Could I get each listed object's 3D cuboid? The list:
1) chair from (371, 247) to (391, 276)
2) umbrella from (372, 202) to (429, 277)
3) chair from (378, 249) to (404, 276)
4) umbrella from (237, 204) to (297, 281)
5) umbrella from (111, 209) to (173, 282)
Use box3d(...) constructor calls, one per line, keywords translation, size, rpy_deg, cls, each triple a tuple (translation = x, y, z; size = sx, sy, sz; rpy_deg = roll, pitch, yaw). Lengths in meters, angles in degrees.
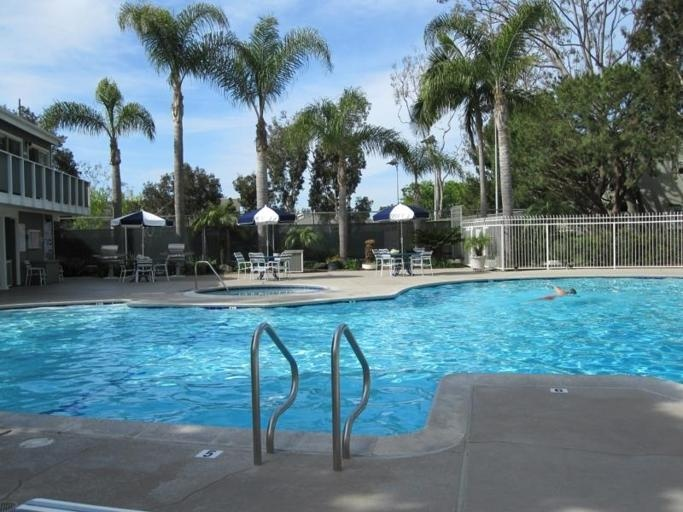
box3d(translation=(1.704, 0.203, 24.132), size=(0.943, 1.449, 0.790), rpy_deg=(-1, 0, 23), cls="chair")
box3d(translation=(2.655, -0.913, 25.436), size=(2.984, 3.713, 3.145), rpy_deg=(2, 4, 9), cls="umbrella")
box3d(translation=(1.941, 0.356, 23.572), size=(0.879, 1.194, 1.216), rpy_deg=(-1, 3, 5), cls="chair")
box3d(translation=(-3.012, -0.523, 23.170), size=(2.576, 3.276, 2.734), rpy_deg=(-1, -2, -2), cls="umbrella")
box3d(translation=(-8.889, -0.403, 25.555), size=(2.803, 3.500, 2.989), rpy_deg=(-2, -3, 33), cls="umbrella")
